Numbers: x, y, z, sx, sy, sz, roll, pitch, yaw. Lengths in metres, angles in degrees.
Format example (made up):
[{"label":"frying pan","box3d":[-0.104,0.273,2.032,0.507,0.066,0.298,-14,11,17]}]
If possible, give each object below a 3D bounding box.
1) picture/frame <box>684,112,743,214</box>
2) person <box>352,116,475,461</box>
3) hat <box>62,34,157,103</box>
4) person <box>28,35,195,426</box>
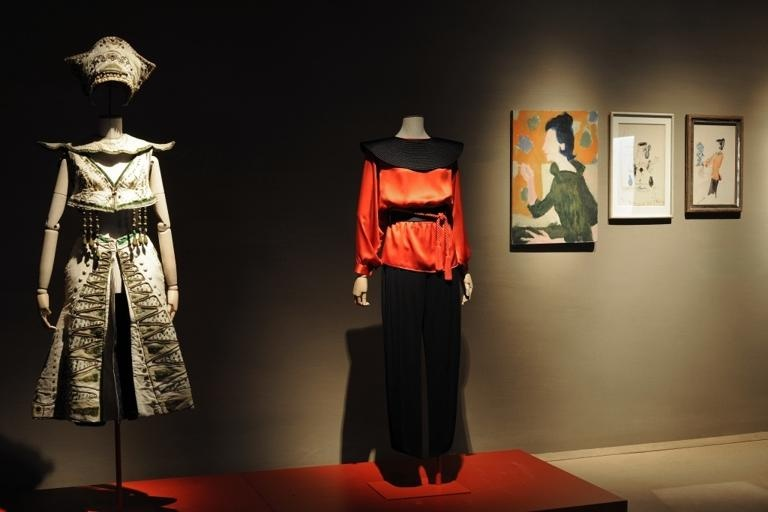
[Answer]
[{"label":"picture/frame","box3d":[2.519,-0.709,5.377,0.466,0.712,0.097,-1,8,-10]},{"label":"person","box3d":[0.182,0.176,4.399,0.710,2.066,0.451,2,8,6]},{"label":"hat","box3d":[-1.591,-1.073,4.094,0.526,0.322,0.322,-1,0,-16]},{"label":"person","box3d":[-1.602,-0.075,4.166,0.865,2.368,0.751,-1,8,-13]}]
